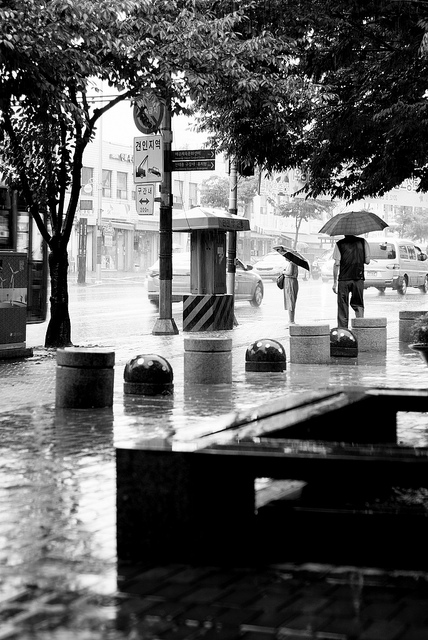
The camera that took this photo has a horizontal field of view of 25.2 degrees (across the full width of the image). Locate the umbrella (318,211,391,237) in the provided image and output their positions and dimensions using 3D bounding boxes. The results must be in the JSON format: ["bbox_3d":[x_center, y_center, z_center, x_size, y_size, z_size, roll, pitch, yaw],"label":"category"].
[{"bbox_3d":[2.543,-1.748,17.255,0.574,0.286,0.690,-5,16,-6],"label":"umbrella"}]

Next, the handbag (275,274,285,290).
[{"bbox_3d":[1.298,-0.771,18.663,0.110,0.249,0.223,-1,10,-2],"label":"handbag"}]

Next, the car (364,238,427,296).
[{"bbox_3d":[6.905,-2.089,36.492,1.971,1.964,4.979,11,3,29],"label":"car"}]
